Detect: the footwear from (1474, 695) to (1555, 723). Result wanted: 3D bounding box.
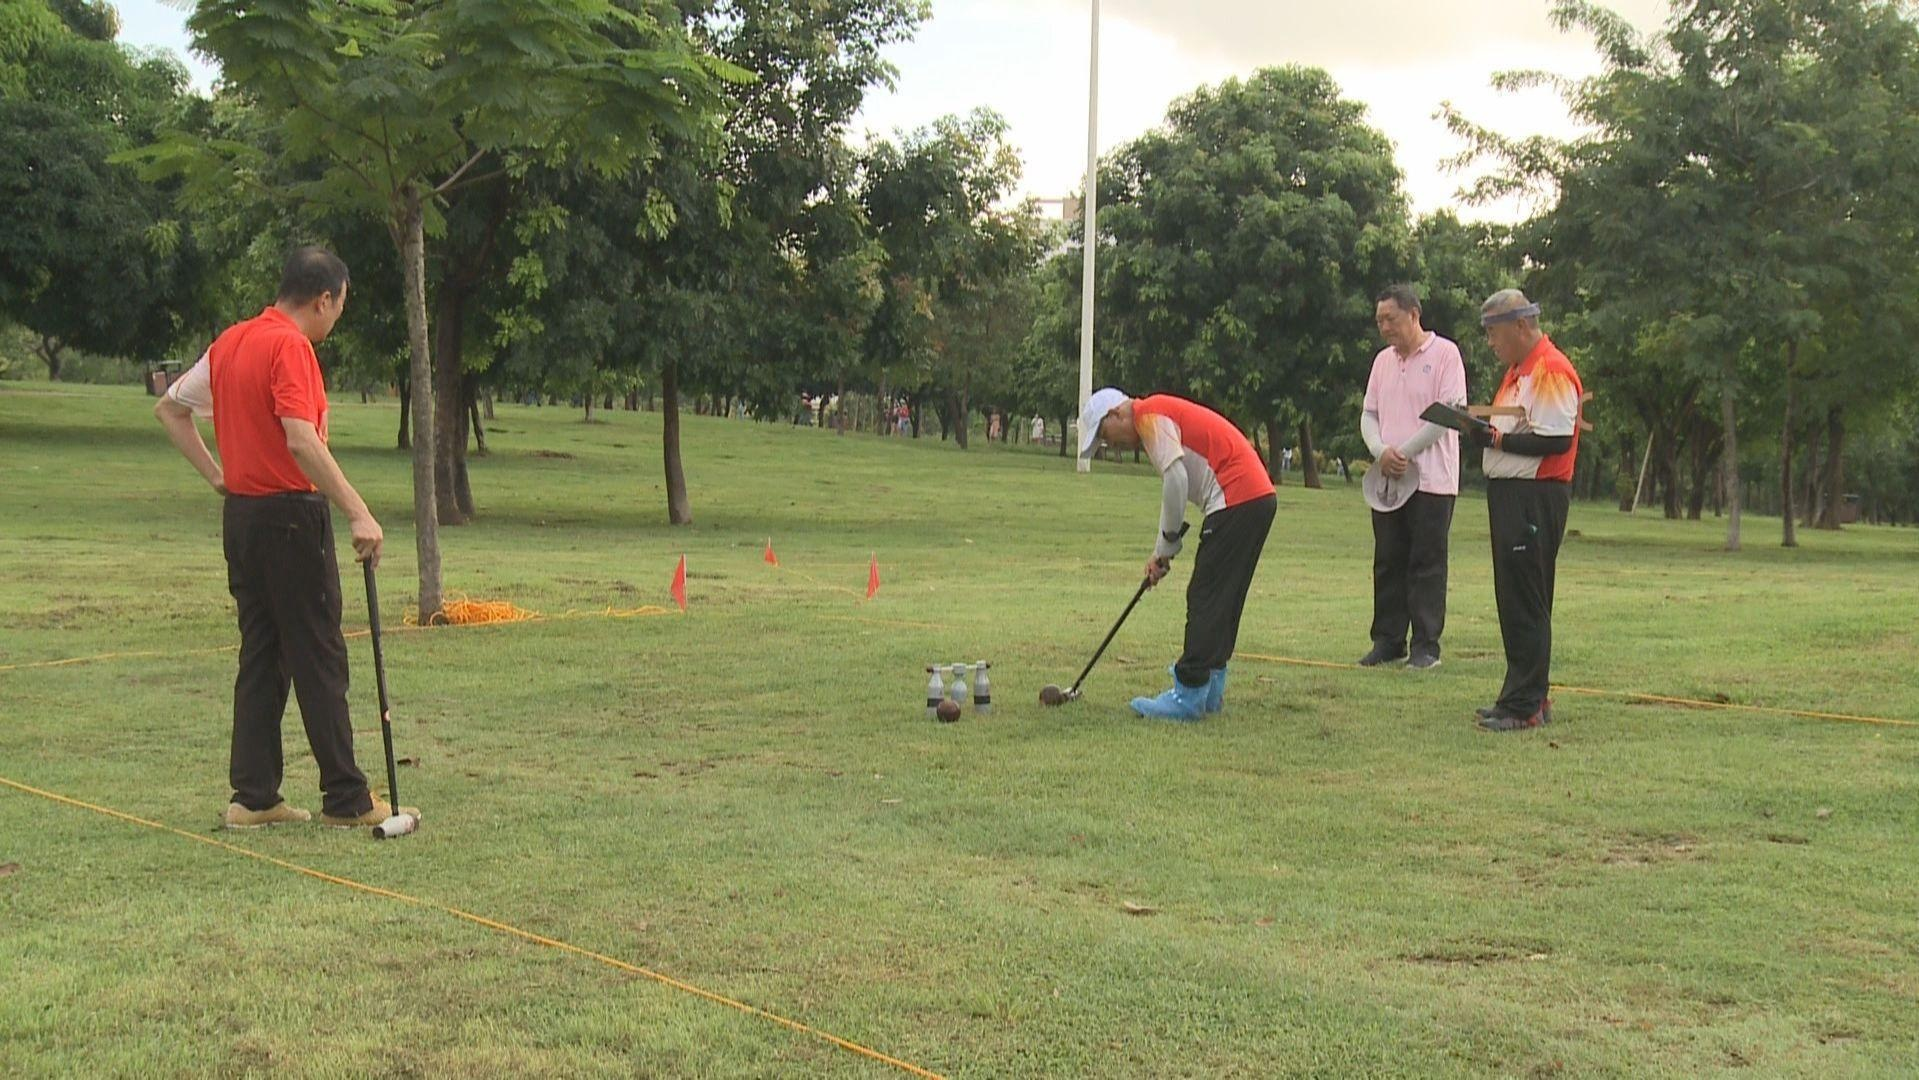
[{"bbox_3d":[6.549,1.991,23.833,1.065,0.408,0.342,2,0,-18],"label":"footwear"}]

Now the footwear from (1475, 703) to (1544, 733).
[{"bbox_3d":[6.412,2.075,23.665,0.568,0.201,0.358,-3,3,-3],"label":"footwear"}]

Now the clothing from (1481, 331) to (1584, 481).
[{"bbox_3d":[6.848,-1.537,24.089,1.081,1.630,1.916,-3,9,-5],"label":"clothing"}]

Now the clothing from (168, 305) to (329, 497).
[{"bbox_3d":[-7.547,-1.468,21.966,2.608,1.909,1.062,0,1,38],"label":"clothing"}]

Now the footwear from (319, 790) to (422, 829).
[{"bbox_3d":[-6.390,2.895,21.800,1.172,0.457,0.377,-3,2,-10],"label":"footwear"}]

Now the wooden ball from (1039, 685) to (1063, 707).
[{"bbox_3d":[1.084,1.843,24.163,0.218,0.203,0.281,4,6,30],"label":"wooden ball"}]

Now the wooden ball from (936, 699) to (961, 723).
[{"bbox_3d":[-0.143,1.977,23.736,0.278,0.239,0.268,-2,1,0],"label":"wooden ball"}]

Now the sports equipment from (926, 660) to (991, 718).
[{"bbox_3d":[-0.009,1.768,23.927,0.672,0.469,0.232,2,-10,-20],"label":"sports equipment"}]

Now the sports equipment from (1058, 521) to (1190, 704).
[{"bbox_3d":[2.281,1.030,27.944,0.567,2.629,0.529,39,9,-14],"label":"sports equipment"}]

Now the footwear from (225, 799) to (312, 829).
[{"bbox_3d":[-7.464,2.910,21.784,0.951,0.282,0.318,1,-1,-25],"label":"footwear"}]
